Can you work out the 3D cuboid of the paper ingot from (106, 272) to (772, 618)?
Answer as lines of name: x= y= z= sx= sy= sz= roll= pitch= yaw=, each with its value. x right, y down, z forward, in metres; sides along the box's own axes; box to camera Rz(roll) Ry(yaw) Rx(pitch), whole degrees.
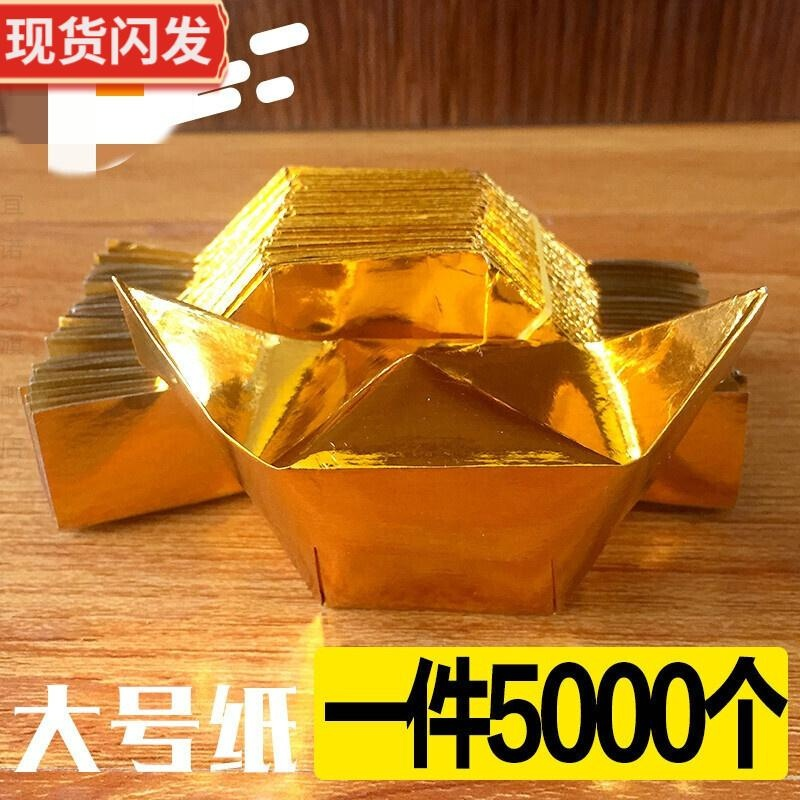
paper ingot: x=0.038 y=0.021 z=0.553 sx=0.333 sy=0.202 sz=0.141 roll=-7 pitch=16 yaw=-4
